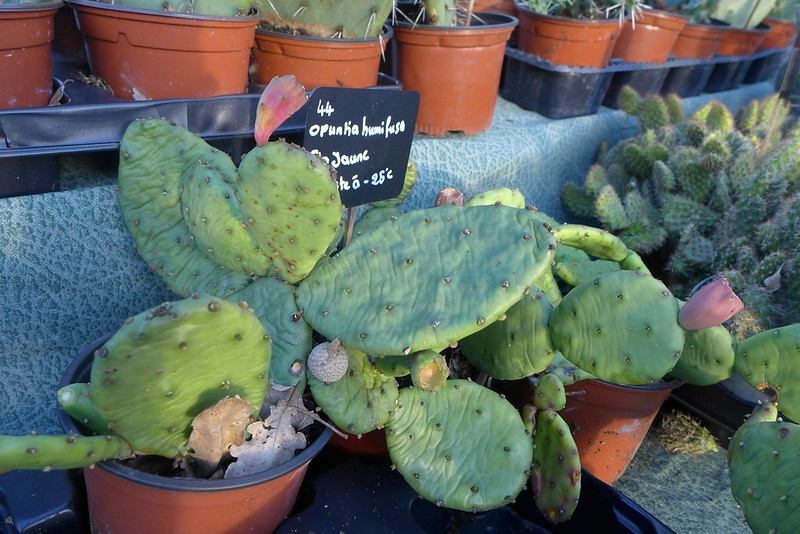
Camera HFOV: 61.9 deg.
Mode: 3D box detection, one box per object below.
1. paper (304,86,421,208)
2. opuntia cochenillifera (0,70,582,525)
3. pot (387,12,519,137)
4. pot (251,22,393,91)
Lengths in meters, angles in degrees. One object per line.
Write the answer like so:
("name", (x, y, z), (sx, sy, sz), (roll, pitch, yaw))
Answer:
("paper", (-0.077, -0.227, 1.256), (0.239, 0.230, 0.018), (-18, 37, -33))
("opuntia cochenillifera", (-0.148, 0.193, 1.317), (0.956, 0.334, 0.718), (25, 63, -2))
("pot", (0.139, -0.481, 1.685), (0.287, 0.239, 0.316), (0, 27, -7))
("pot", (-0.165, -0.457, 1.507), (0.208, 0.084, 0.218), (4, 23, -2))
